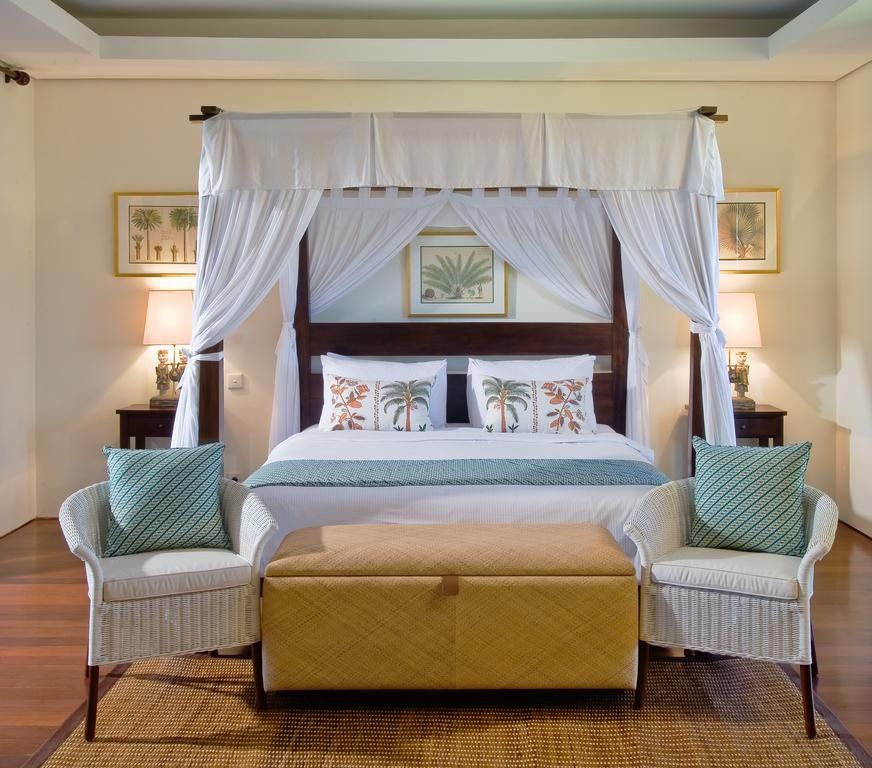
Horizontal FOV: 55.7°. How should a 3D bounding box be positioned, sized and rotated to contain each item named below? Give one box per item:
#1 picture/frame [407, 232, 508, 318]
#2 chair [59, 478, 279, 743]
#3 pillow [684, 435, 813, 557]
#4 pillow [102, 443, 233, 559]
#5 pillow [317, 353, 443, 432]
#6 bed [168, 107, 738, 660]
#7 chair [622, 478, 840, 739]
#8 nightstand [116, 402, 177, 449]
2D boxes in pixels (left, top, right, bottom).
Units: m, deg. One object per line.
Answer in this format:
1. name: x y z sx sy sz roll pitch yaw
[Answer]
1. picture/frame: 0.145 -0.755 5.484 0.528 0.466 0.021 -1 3 2
2. chair: -0.935 0.828 3.362 0.892 1.031 0.794 2 -11 -21
3. pillow: 1.309 0.447 3.337 0.442 0.468 0.175 -3 -32 22
4. pillow: -1.062 0.480 3.266 0.372 0.356 0.141 -2 -28 -17
5. pillow: -0.318 0.074 4.945 0.669 0.447 0.189 1 -20 2
6. bed: 0.071 -0.538 5.032 2.973 2.068 1.991 -3 15 -10
7. chair: 1.203 0.808 3.315 0.739 0.898 0.669 0 -3 34
8. nightstand: -1.855 0.223 5.293 0.371 0.372 0.289 0 2 -5
